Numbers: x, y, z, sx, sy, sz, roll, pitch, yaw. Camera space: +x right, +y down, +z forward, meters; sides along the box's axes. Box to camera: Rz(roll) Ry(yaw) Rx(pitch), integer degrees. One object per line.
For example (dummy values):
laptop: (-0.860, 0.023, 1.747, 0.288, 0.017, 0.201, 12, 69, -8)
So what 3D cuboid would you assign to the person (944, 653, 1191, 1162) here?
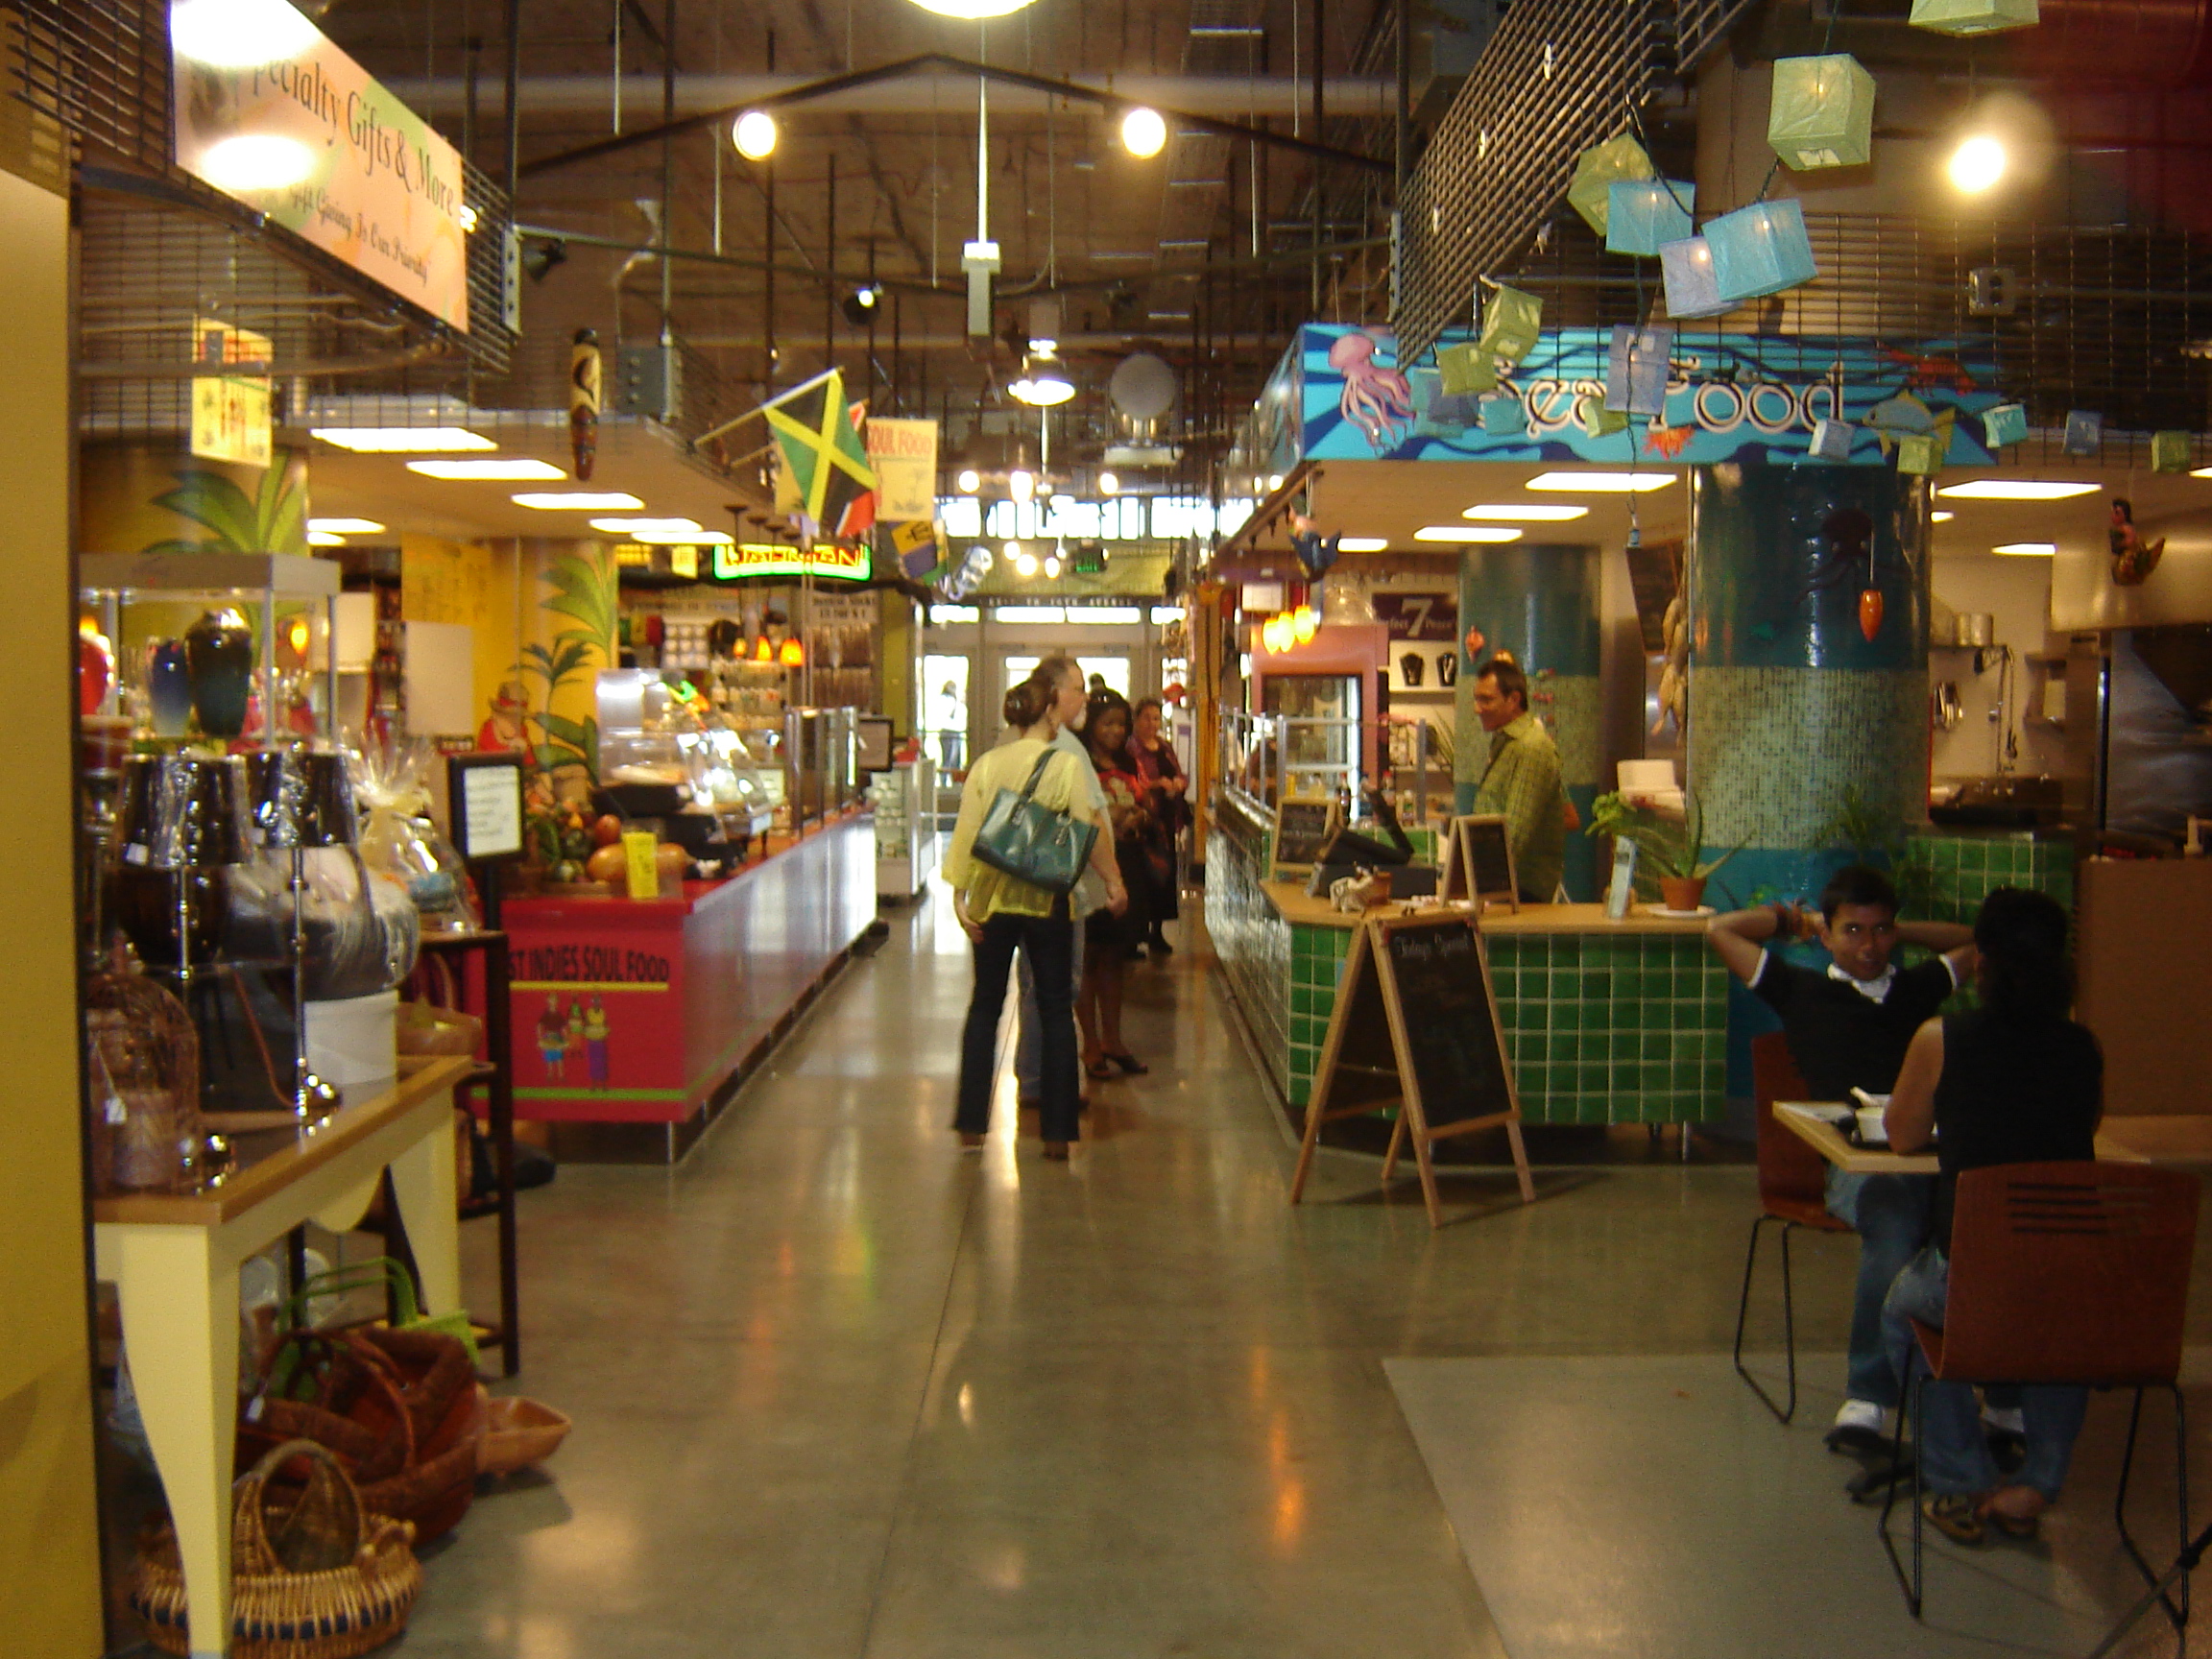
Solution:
person: (-0.312, 0.289, 8.115, 0.583, 1.898, 0.698, 1, 6, 10)

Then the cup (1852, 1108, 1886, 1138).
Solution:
cup: (1.917, 0.733, 5.208, 0.058, 0.057, 0.081, -1, -8, 3)

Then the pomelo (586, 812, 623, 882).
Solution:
pomelo: (-1.996, 0.077, 8.285, 0.183, 0.295, 0.199, 2, -3, -20)

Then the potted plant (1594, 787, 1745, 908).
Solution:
potted plant: (2.273, 0.098, 8.367, 0.445, 0.257, 0.472, -2, -17, 35)

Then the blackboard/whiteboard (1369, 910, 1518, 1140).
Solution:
blackboard/whiteboard: (1.216, 0.681, 7.384, 0.549, 0.742, 0.231, -5, 7, -37)

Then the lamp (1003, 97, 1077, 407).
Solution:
lamp: (-0.356, -3.499, 12.567, 0.318, 1.520, 0.320, -3, 12, -27)

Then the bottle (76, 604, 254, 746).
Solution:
bottle: (-2.171, -0.360, 4.817, 0.310, 0.299, 0.664, -4, 9, -33)

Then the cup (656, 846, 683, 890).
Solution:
cup: (-1.743, 0.143, 8.338, 0.073, 0.166, 0.184, 0, 7, -3)

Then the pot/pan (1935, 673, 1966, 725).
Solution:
pot/pan: (5.597, -0.875, 13.828, 0.257, 0.297, 0.059, 4, -7, -29)

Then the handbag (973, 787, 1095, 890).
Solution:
handbag: (-0.279, 0.033, 7.827, 0.260, 0.285, 0.105, 21, 1, -7)

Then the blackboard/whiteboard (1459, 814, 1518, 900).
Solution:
blackboard/whiteboard: (1.489, 0.110, 8.143, 0.271, 0.400, 0.182, -3, -2, -40)

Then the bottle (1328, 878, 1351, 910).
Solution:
bottle: (0.933, 0.246, 8.201, 0.075, 0.090, 0.187, 1, 7, 5)

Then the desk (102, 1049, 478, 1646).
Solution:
desk: (-1.842, 1.181, 4.640, 0.376, 0.641, 1.173, -2, 6, -2)

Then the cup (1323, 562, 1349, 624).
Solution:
cup: (1.679, -1.690, 14.836, 0.239, 0.340, 0.142, -2, 6, -22)

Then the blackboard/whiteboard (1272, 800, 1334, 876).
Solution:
blackboard/whiteboard: (0.856, 0.025, 9.055, 0.250, 0.552, 0.276, 1, -9, 6)

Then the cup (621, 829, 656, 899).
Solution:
cup: (-1.819, 0.125, 8.139, 0.133, 0.258, 0.246, -1, 7, -13)

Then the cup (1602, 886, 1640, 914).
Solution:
cup: (1.996, 0.280, 8.090, 0.072, 0.124, 0.121, 0, -13, 36)
